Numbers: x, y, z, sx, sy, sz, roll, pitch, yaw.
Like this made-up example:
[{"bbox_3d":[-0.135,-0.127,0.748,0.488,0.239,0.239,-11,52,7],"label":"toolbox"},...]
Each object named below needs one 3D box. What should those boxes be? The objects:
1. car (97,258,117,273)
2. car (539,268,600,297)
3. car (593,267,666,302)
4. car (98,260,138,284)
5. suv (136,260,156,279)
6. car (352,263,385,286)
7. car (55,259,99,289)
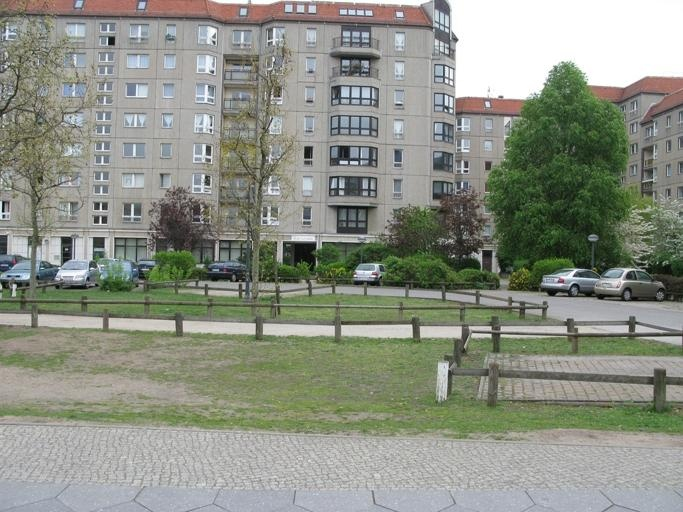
[{"bbox_3d":[-12.192,0.440,54.155,0.999,0.744,1.590,0,2,-7],"label":"car"},{"bbox_3d":[12.919,1.441,56.543,3.215,0.971,1.320,-3,3,-30],"label":"car"},{"bbox_3d":[14.867,1.515,54.096,3.167,1.267,1.745,-1,2,-26],"label":"car"},{"bbox_3d":[-11.628,0.737,54.498,1.377,0.802,2.708,-1,-6,-3],"label":"car"},{"bbox_3d":[-12.468,0.884,66.701,1.258,0.918,2.634,1,2,-3],"label":"suv"},{"bbox_3d":[1.729,1.164,63.725,1.849,1.094,3.213,1,11,4],"label":"car"},{"bbox_3d":[-14.125,0.980,56.181,1.483,0.993,2.851,-1,-5,0],"label":"car"}]
